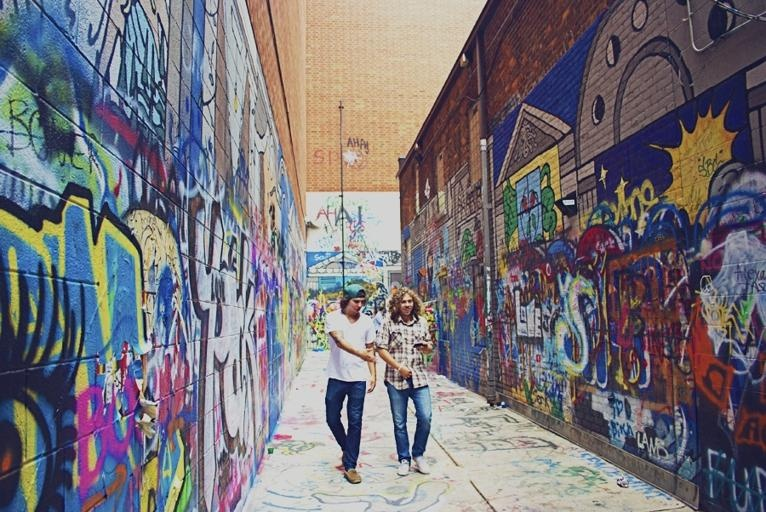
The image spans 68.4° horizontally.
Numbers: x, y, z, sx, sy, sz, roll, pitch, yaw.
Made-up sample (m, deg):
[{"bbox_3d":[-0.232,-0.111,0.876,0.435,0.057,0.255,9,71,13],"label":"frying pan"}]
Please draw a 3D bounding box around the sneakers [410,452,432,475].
[{"bbox_3d":[0.428,2.391,6.584,0.204,0.162,0.452,1,-4,-32],"label":"sneakers"}]

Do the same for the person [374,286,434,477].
[{"bbox_3d":[0.254,1.421,6.580,0.660,2.101,0.526,-1,-2,3],"label":"person"}]

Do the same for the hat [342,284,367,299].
[{"bbox_3d":[-0.310,0.377,6.368,0.145,0.159,0.212,4,4,43],"label":"hat"}]

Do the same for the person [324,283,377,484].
[{"bbox_3d":[-0.371,1.395,6.399,0.577,2.152,0.719,0,-2,-2],"label":"person"}]

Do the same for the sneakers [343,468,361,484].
[{"bbox_3d":[-0.356,2.402,6.214,0.250,0.121,0.227,-2,-3,16],"label":"sneakers"}]

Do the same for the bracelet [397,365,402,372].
[{"bbox_3d":[0.186,1.259,6.365,0.051,0.014,0.050,-8,23,47],"label":"bracelet"}]

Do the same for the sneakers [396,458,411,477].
[{"bbox_3d":[0.235,2.388,6.403,0.135,0.143,0.259,-1,-3,15],"label":"sneakers"}]
